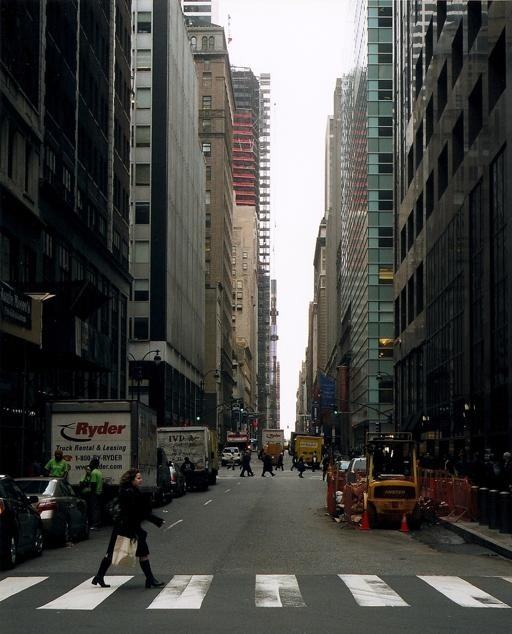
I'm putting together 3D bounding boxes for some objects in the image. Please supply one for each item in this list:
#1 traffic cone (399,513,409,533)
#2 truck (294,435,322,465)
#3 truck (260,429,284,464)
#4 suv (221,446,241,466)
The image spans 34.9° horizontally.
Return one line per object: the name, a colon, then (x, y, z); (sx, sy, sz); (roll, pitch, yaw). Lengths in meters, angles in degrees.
traffic cone: (3.732, 5.258, 20.641); (0.206, 0.567, 0.308); (0, -9, -1)
truck: (4.994, 12.464, 77.717); (2.285, 4.408, 2.210); (1, 7, 2)
truck: (1.858, 14.595, 92.085); (1.689, 3.599, 4.338); (0, 0, 3)
suv: (-2.974, 15.977, 93.212); (1.018, 1.897, 3.164); (0, -3, 4)
